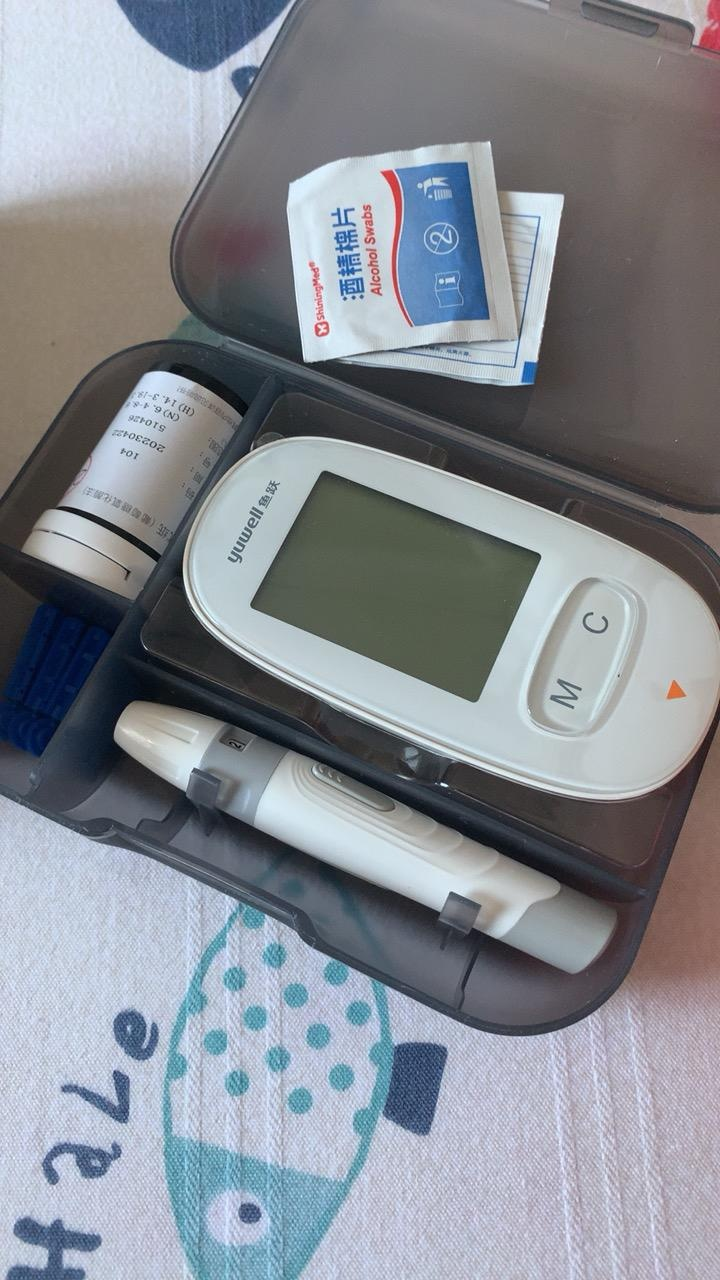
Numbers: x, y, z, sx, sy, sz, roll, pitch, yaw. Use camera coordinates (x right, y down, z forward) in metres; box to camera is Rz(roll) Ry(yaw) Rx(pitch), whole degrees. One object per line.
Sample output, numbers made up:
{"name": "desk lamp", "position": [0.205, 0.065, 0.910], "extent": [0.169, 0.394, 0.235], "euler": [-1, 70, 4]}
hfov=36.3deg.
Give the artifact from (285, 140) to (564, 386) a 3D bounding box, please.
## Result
{"name": "artifact", "position": [0.038, -0.257, 0.745], "extent": [0.185, 0.108, 0.130], "euler": [5, 47, 7]}
